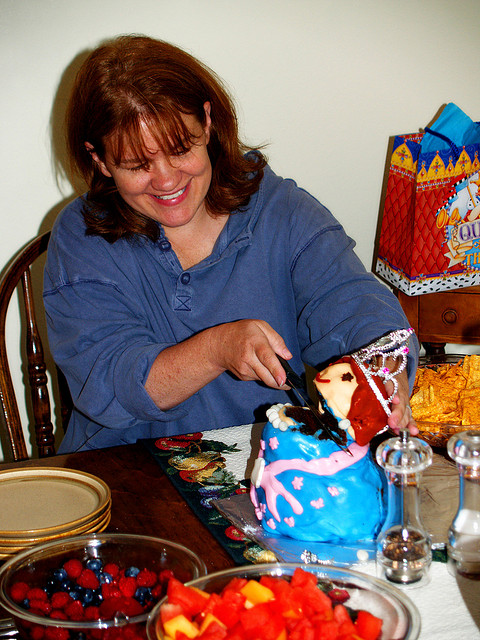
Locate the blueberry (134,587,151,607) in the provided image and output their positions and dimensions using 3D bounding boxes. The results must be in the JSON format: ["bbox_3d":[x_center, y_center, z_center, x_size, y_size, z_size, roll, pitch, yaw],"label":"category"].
[{"bbox_3d":[-0.082,0.234,0.500,0.010,0.010,0.011,-14,47,11],"label":"blueberry"}]

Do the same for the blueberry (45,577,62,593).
[{"bbox_3d":[-0.166,0.233,0.519,0.010,0.011,0.010,31,43,9],"label":"blueberry"}]

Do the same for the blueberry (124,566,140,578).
[{"bbox_3d":[-0.099,0.227,0.529,0.008,0.009,0.008,-4,55,2],"label":"blueberry"}]

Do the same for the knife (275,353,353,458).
[{"bbox_3d":[0.096,0.111,0.760,0.026,0.036,0.173,0,44,-38],"label":"knife"}]

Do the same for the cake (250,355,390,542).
[{"bbox_3d":[0.108,0.150,0.730,0.206,0.196,0.154,2,13,-1],"label":"cake"}]

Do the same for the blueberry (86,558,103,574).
[{"bbox_3d":[-0.135,0.226,0.539,0.009,0.008,0.010,-2,38,-8],"label":"blueberry"}]

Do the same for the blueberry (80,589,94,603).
[{"bbox_3d":[-0.130,0.234,0.495,0.007,0.004,0.007,-12,34,-33],"label":"blueberry"}]
